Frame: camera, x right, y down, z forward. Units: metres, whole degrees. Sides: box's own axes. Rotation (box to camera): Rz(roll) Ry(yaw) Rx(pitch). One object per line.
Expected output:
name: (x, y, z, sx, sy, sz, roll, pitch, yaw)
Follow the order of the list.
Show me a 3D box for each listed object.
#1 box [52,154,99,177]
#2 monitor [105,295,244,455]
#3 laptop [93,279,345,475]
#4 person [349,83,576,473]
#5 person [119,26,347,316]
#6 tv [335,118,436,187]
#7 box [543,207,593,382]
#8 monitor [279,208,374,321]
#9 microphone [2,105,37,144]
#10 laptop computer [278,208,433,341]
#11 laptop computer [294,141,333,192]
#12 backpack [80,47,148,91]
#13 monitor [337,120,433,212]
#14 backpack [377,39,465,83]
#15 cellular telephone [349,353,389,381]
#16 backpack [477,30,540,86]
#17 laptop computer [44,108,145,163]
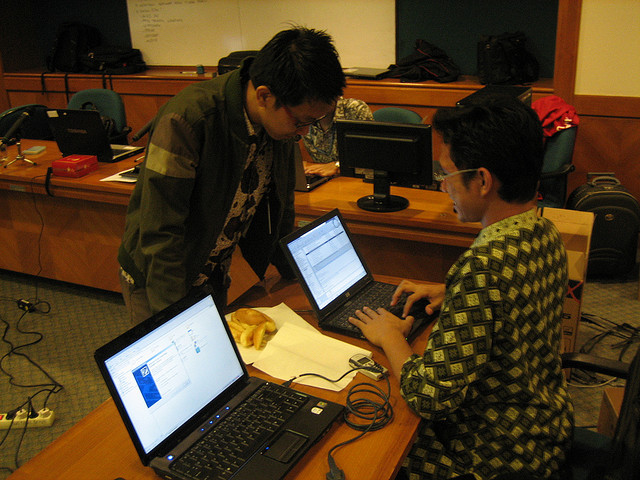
box: (-1.734, -0.478, 3.528, 0.183, 0.105, 0.237, 7, 23, 17)
monitor: (-0.467, 0.378, 1.490, 0.316, 0.270, 0.454, 8, 33, 46)
laptop: (-0.300, 0.455, 1.417, 0.569, 0.391, 0.513, 12, 34, 31)
person: (0.478, 0.141, 1.509, 0.599, 1.096, 0.606, -7, 20, -15)
person: (-0.332, -0.206, 1.826, 0.713, 1.021, 0.561, -11, 21, -24)
tv: (0.346, -0.465, 2.703, 0.494, 0.337, 0.080, 8, 41, 20)
box: (1.302, 0.237, 2.728, 0.239, 0.819, 0.163, 7, 21, 25)
monitor: (0.020, 0.102, 1.980, 0.278, 0.253, 0.384, -6, 26, 42)
microphone: (-2.491, -0.976, 4.154, 0.249, 0.251, 1.071, -11, 21, -25)
laptop computer: (0.151, 0.119, 1.850, 0.489, 0.303, 0.442, 20, 31, 40)
laptop computer: (-0.075, -0.422, 2.965, 0.203, 0.217, 0.298, -13, 15, -29)
backpack: (-2.574, -2.108, 6.145, 0.784, 0.277, 0.558, 10, 26, 21)
monitor: (0.353, -0.402, 2.711, 0.485, 0.407, 0.252, 10, 35, 20)
backpack: (0.966, -1.604, 4.762, 0.666, 0.272, 0.509, 7, 30, 24)
cellular telephone: (0.160, 0.395, 1.615, 0.057, 0.028, 0.115, -18, 32, -40)
backpack: (1.675, -1.591, 4.523, 0.505, 0.461, 0.415, -9, 8, -21)
laptop computer: (-1.670, -0.757, 3.739, 0.454, 0.340, 0.491, 7, 19, 19)
